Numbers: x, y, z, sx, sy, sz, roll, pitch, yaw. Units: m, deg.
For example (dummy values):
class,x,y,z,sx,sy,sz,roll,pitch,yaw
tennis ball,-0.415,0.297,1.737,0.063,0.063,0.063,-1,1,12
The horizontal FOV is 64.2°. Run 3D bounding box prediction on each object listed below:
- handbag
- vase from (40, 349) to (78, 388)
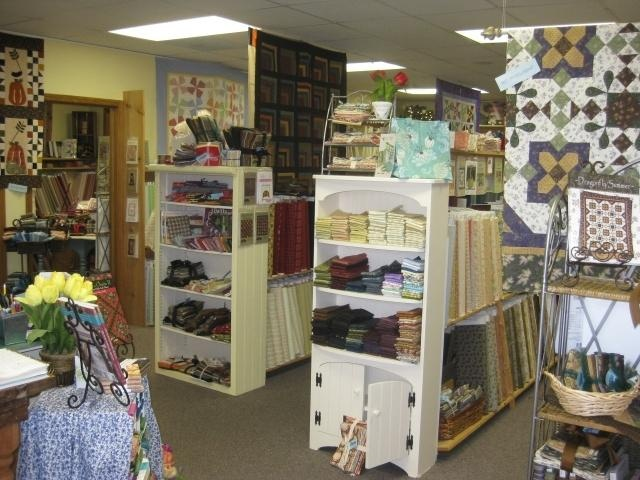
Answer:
class,x,y,z,sx,sy,sz,roll,pitch,yaw
handbag,0.829,-0.762,4.309,0.537,0.515,0.217,0,5,-18
vase,-1.366,0.666,2.676,0.185,0.172,0.185,0,3,-23
